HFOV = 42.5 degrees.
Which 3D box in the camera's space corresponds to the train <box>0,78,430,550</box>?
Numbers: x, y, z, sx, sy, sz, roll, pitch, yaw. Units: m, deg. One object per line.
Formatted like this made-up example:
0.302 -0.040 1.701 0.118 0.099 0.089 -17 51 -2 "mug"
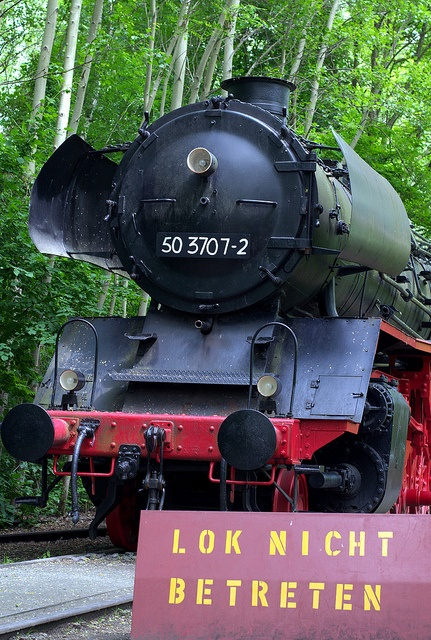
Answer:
0.541 0.406 7.065 2.724 3.586 6.658 -3 -12 23 "train"
